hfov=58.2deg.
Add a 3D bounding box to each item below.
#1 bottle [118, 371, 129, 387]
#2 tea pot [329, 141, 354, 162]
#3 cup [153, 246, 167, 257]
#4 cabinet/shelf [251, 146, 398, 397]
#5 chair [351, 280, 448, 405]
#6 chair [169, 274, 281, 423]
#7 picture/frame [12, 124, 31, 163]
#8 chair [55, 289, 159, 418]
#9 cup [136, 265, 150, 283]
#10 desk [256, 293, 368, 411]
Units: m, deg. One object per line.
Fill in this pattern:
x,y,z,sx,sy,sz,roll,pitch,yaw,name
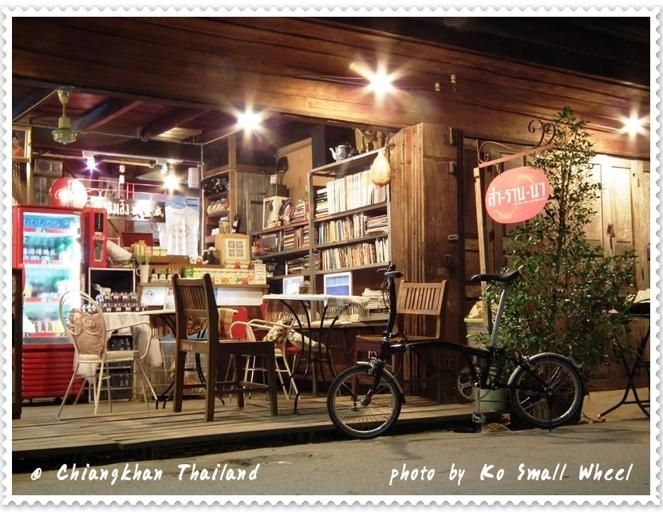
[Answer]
-2.440,1.435,6.905,0.159,0.218,0.073,9,-17,-41,bottle
0.161,-1.419,8.331,0.325,0.279,0.395,-14,27,-11,tea pot
-2.364,-0.057,8.045,0.143,0.092,0.137,-3,-6,0,cup
-0.062,0.237,7.451,0.938,3.013,3.195,5,-11,-18,cabinet/shelf
0.657,0.799,5.680,0.876,1.131,0.825,0,-1,-10,chair
-0.980,0.824,5.469,0.996,1.243,1.005,0,-5,9,chair
-4.762,-1.718,9.063,0.241,0.545,0.206,0,-6,-25,picture/frame
-2.388,1.007,6.313,0.853,1.200,1.897,0,-6,-20,chair
-2.408,0.236,7.551,0.153,0.261,0.399,0,-6,-18,cup
-0.242,0.954,6.577,1.337,1.245,1.354,10,-13,-42,desk
